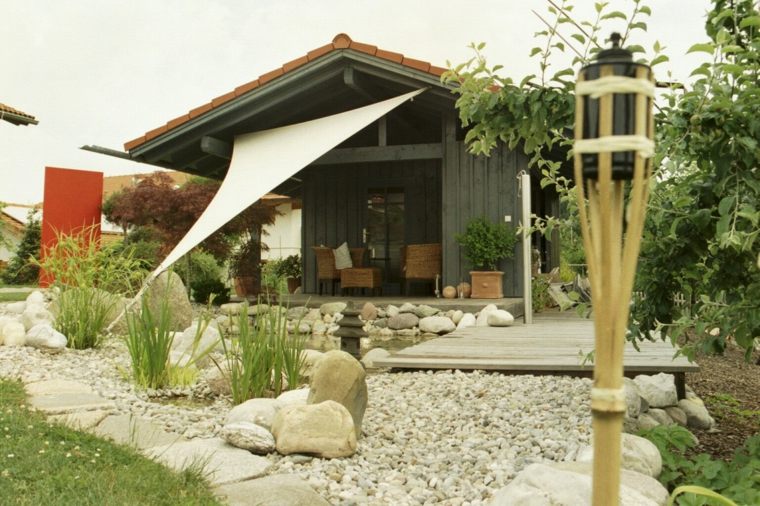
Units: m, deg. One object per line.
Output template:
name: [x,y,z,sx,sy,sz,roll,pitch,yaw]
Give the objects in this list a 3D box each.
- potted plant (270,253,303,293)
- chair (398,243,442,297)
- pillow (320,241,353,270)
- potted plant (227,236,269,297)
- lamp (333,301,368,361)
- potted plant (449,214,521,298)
potted plant: [-1.842,0.458,14.925,0.622,0.760,0.548,1,-8,-3]
chair: [0.726,0.078,11.690,0.694,0.985,1.256,0,-2,13]
pillow: [-0.759,0.059,12.014,0.570,0.468,0.526,2,-5,7]
potted plant: [-3.094,0.403,15.410,0.681,1.113,0.718,-2,-3,16]
lamp: [-0.302,0.817,6.994,0.328,0.616,0.351,2,5,13]
potted plant: [1.686,0.122,10.526,0.911,1.184,0.744,-3,-14,23]
